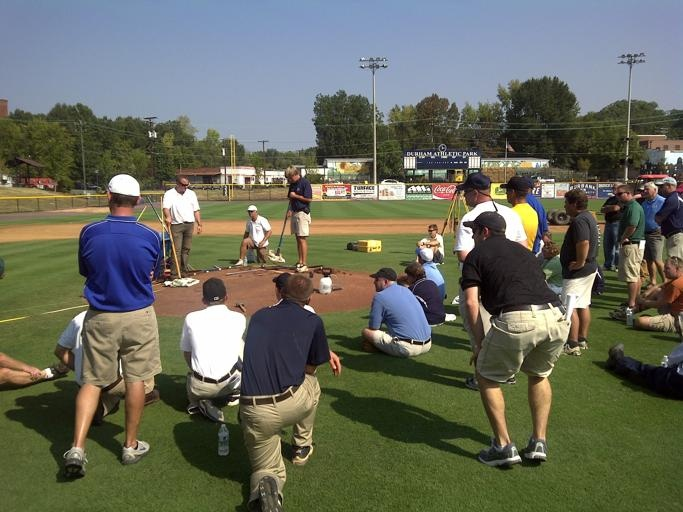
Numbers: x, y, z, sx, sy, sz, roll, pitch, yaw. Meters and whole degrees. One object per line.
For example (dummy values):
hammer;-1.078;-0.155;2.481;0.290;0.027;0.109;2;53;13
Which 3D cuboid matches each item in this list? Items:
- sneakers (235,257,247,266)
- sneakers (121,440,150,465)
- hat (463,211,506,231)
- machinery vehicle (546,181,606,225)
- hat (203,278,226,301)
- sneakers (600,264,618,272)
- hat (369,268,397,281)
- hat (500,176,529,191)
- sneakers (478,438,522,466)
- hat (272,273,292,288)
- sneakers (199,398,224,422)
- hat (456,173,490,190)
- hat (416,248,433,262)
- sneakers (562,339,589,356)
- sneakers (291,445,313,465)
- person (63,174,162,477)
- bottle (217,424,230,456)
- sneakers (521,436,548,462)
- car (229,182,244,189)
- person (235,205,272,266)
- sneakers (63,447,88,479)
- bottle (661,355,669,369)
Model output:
sneakers;-2.641;0.151;14.437;0.258;0.157;0.615;-2;12;-6
sneakers;-2.066;1.981;5.514;0.141;0.141;0.307;2;9;13
hat;1.471;-0.345;5.532;0.327;0.174;0.211;15;13;29
machinery vehicle;22.391;-4.895;49.560;3.559;3.750;5.786;-9;10;-42
hat;-1.440;0.383;6.157;0.243;0.241;0.211;-5;12;-16
sneakers;6.862;0.312;13.894;0.304;0.130;0.101;9;42;6
hat;0.608;0.261;7.846;0.285;0.140;0.204;3;-2;13
hat;2.358;-1.008;7.417;0.313;0.161;0.220;17;21;38
sneakers;1.568;1.975;5.492;0.463;0.240;0.199;-2;6;37
hat;-0.646;0.270;5.988;0.208;0.166;0.302;-3;20;-12
sneakers;-1.470;1.769;6.206;0.318;0.123;0.181;38;21;23
hat;1.629;-0.917;6.662;0.312;0.160;0.205;8;15;31
hat;1.529;-0.021;9.763;0.222;0.163;0.318;3;24;9
sneakers;3.374;1.331;7.913;0.381;0.175;0.161;5;8;41
sneakers;-0.389;1.999;5.482;0.104;0.135;0.298;0;4;14
person;-2.274;0.649;5.417;1.178;2.841;0.674;-10;14;-35
bottle;-1.233;1.875;5.669;0.130;0.306;0.311;-4;12;-13
sneakers;1.934;1.945;5.436;0.131;0.160;0.346;0;-5;5
car;-14.922;-10.239;78.650;1.557;0.880;8.212;-4;12;-13
person;-2.342;-0.575;14.707;0.837;1.487;0.642;-4;12;-11
sneakers;-2.562;1.980;5.226;0.207;0.330;0.251;-8;13;-29
bottle;4.159;1.356;6.970;0.119;0.151;0.360;-9;-6;33
